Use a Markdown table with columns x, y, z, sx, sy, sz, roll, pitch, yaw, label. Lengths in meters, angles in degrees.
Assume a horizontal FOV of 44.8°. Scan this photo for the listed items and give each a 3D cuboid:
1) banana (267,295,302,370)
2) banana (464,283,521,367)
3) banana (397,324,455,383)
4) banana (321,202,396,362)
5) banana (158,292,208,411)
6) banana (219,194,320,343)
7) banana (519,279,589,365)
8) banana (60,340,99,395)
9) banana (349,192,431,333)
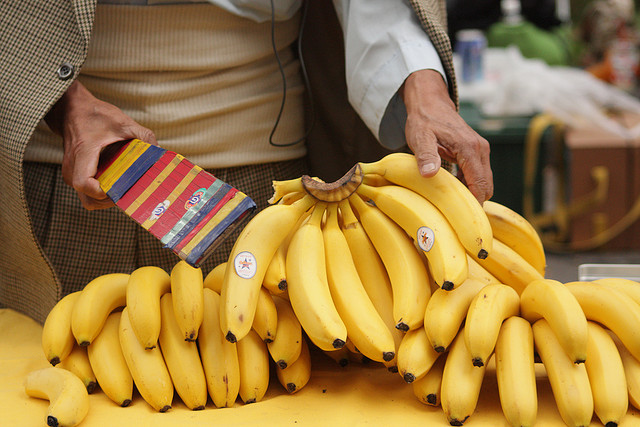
| x | y | z | sx | sy | sz | roll | pitch | yaw | label |
| --- | --- | --- | --- | --- | --- | --- | --- | --- | --- |
| -0.092 | 0.333 | 2.189 | 0.078 | 0.174 | 0.112 | 2 | 19 | 7 | banana |
| 0.452 | 0.273 | 2.062 | 0.060 | 0.112 | 0.226 | -47 | 19 | 55 | banana |
| 0.273 | 0.348 | 2.048 | 0.137 | 0.148 | 0.141 | -3 | 10 | 11 | banana |
| 0.109 | 0.187 | 2.169 | 0.066 | 0.414 | 0.125 | -18 | -17 | 11 | banana |
| -0.367 | 0.378 | 2.192 | 0.146 | 0.285 | 0.170 | -4 | 16 | -9 | banana |
| -0.149 | 0.100 | 2.207 | 0.147 | 0.125 | 0.489 | -4 | 60 | 62 | banana |
| 0.629 | 0.259 | 2.069 | 0.057 | 0.251 | 0.129 | -8 | -20 | -41 | banana |
| -0.676 | 0.430 | 2.182 | 0.056 | 0.253 | 0.076 | -9 | -22 | -21 | banana |
| 0.217 | 0.144 | 2.211 | 0.146 | 0.487 | 0.112 | -6 | -5 | 3 | banana |
